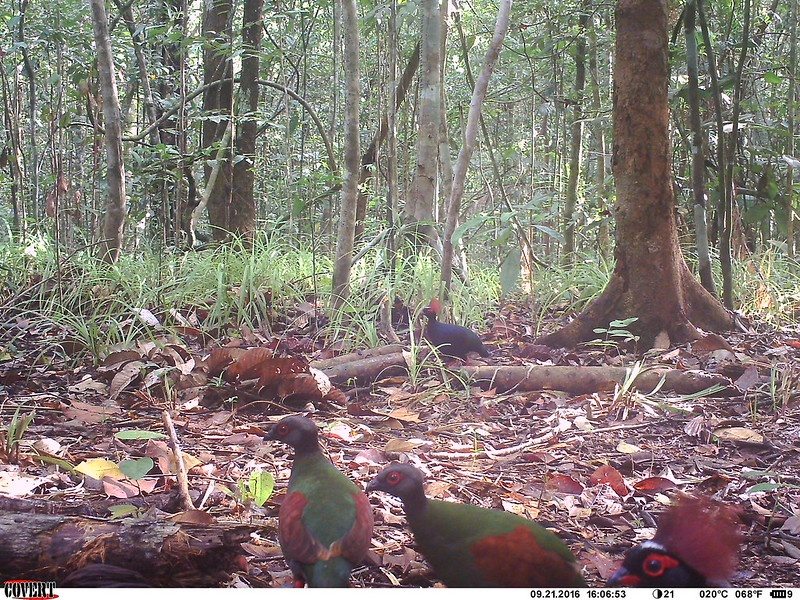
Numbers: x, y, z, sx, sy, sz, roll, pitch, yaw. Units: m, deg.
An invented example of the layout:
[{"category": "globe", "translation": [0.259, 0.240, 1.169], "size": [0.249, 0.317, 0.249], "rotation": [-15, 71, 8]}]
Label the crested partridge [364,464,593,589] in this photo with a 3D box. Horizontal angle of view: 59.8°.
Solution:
[{"category": "crested partridge", "translation": [0.302, 0.840, 2.465], "size": [0.845, 0.568, 0.321], "rotation": [4, 10, -16]}]

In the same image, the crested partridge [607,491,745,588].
[{"category": "crested partridge", "translation": [0.851, 0.762, 2.191], "size": [0.399, 0.276, 0.123], "rotation": [1, 3, 2]}]

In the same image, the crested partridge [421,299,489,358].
[{"category": "crested partridge", "translation": [0.336, 0.216, 4.488], "size": [0.508, 0.420, 0.228], "rotation": [11, -9, -7]}]
